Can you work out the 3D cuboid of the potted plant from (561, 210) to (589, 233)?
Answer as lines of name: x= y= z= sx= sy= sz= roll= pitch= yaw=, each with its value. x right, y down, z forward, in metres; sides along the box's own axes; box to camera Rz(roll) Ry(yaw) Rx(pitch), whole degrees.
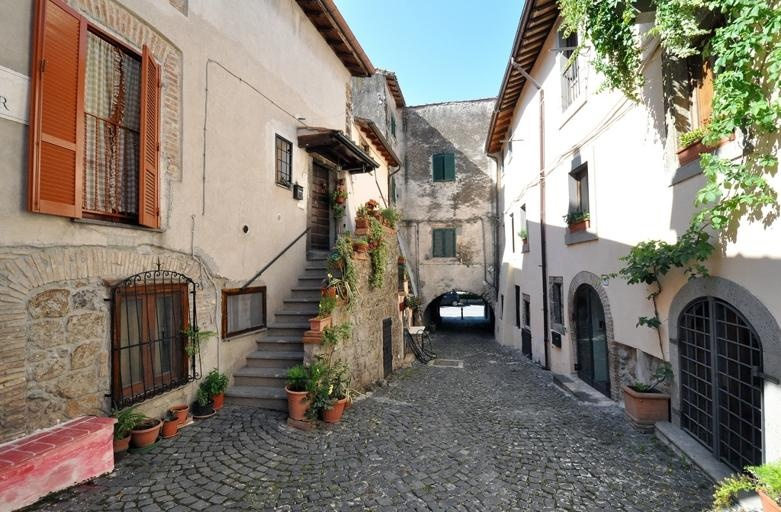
potted plant: x=3.550 y=-0.679 z=9.777 sx=0.360 sy=0.330 sz=0.456 roll=0 pitch=-3 yaw=-3

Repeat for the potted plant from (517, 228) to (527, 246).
potted plant: x=3.514 y=-0.526 z=13.469 sx=0.301 sy=0.436 sz=0.306 roll=-3 pitch=-3 yaw=0

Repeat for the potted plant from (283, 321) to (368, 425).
potted plant: x=-1.075 y=1.947 z=8.179 sx=0.749 sy=1.415 sz=1.396 roll=10 pitch=17 yaw=28

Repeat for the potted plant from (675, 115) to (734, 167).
potted plant: x=4.164 y=-1.533 z=6.825 sx=0.500 sy=0.395 sz=0.567 roll=-3 pitch=8 yaw=31

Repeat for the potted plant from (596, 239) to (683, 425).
potted plant: x=3.827 y=1.094 z=7.863 sx=0.505 sy=2.817 sz=1.205 roll=-2 pitch=15 yaw=-15
